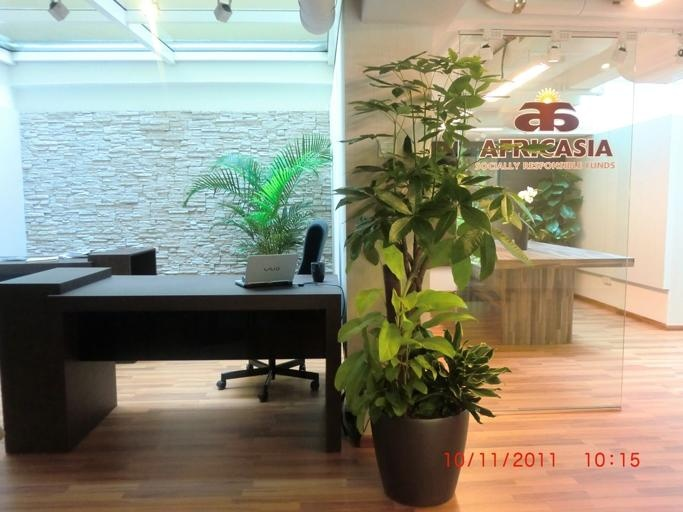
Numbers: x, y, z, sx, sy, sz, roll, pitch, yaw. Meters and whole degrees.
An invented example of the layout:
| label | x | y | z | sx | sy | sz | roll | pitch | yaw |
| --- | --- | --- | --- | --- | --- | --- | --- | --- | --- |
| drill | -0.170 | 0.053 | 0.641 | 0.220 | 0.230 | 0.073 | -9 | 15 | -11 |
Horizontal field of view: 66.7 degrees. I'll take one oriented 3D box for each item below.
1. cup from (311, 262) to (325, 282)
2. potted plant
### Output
| label | x | y | z | sx | sy | sz | roll | pitch | yaw |
| --- | --- | --- | --- | --- | --- | --- | --- | --- | --- |
| cup | -0.175 | 0.125 | 3.839 | 0.145 | 0.134 | 0.110 | 0 | 2 | 6 |
| potted plant | 0.499 | 0.019 | 3.279 | 1.119 | 2.875 | 1.224 | -1 | 5 | 8 |
